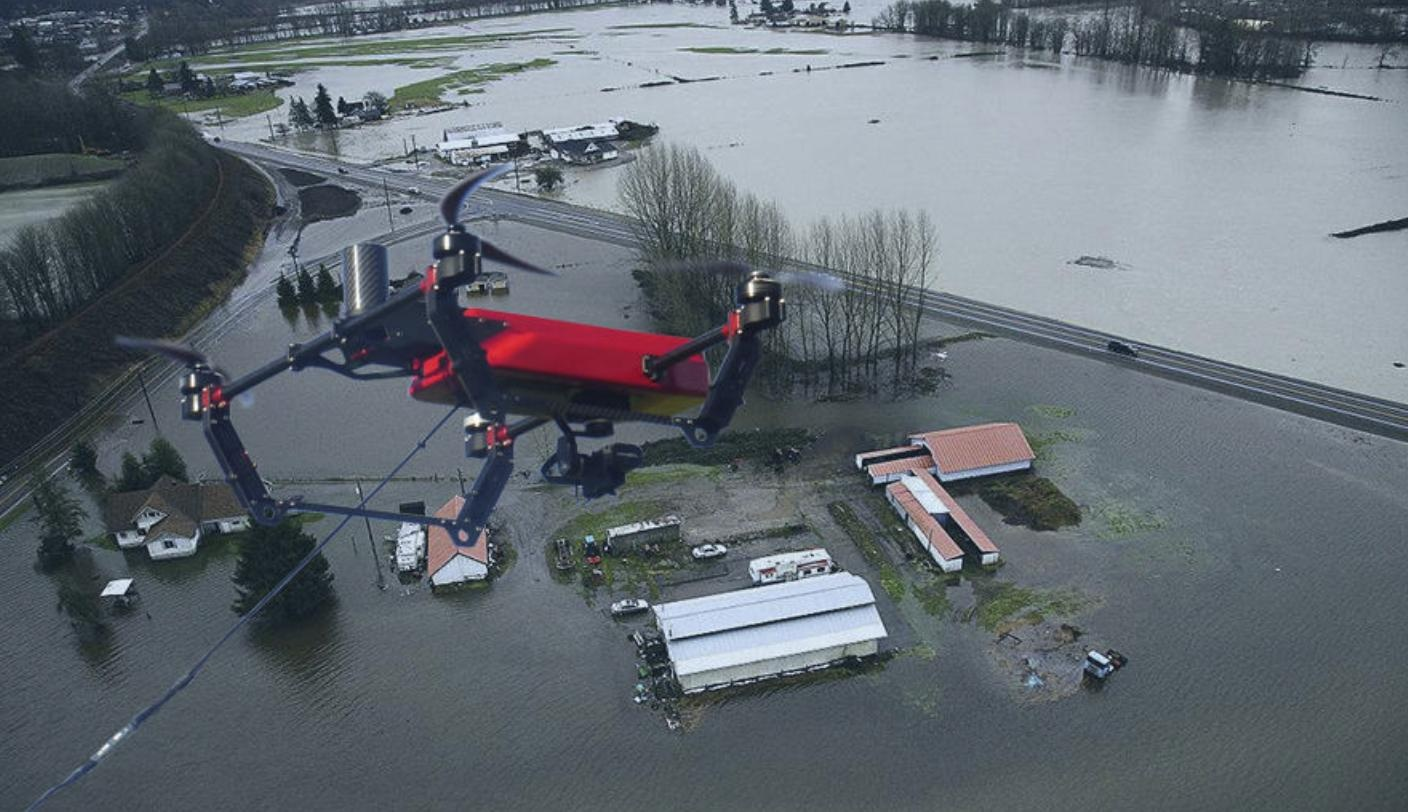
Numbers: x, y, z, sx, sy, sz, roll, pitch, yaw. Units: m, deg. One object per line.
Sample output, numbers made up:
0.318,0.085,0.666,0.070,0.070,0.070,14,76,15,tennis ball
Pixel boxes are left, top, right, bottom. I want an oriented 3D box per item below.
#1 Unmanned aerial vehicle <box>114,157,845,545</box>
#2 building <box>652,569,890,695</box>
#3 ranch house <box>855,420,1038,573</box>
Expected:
-4.483,-1.308,21.873,11.813,6.825,2.973,-1,31,1,Unmanned aerial vehicle
1.791,5.887,27.884,5.152,1.740,2.798,-9,51,-5,building
7.453,3.257,31.817,4.474,1.141,4.256,-14,46,-13,ranch house
